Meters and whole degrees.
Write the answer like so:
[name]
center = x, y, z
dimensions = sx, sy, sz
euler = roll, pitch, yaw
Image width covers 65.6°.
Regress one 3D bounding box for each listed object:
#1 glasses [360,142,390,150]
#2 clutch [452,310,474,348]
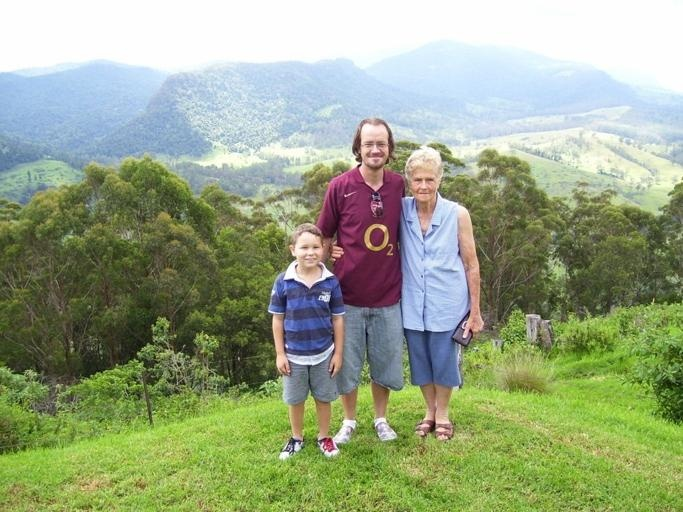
[glasses]
center = 0.445, -1.430, 6.927
dimensions = 0.356, 0.082, 0.091
euler = -2, 8, -7
[clutch]
center = 1.661, 0.980, 7.215
dimensions = 0.233, 0.404, 0.106
euler = 36, -21, -10
